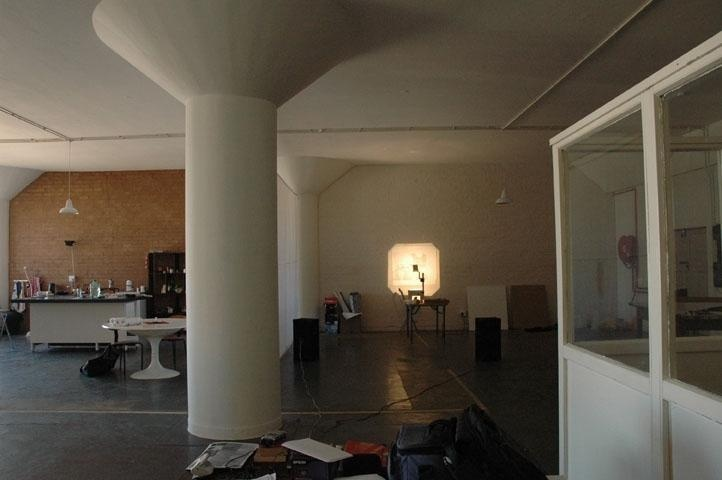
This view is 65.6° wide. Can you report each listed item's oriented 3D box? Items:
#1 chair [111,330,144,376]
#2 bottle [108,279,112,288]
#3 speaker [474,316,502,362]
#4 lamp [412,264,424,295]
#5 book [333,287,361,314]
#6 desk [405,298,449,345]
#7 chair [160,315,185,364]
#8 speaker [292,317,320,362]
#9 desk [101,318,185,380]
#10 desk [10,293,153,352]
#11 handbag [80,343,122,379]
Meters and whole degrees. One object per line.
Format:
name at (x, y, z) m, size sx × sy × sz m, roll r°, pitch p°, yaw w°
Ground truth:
chair at (-4.286, 1.918, 10.305) m, size 0.661 × 1.024 × 0.625 m, roll 0°, pitch 4°, yaw -9°
bottle at (-6.000, 1.048, 13.463) m, size 0.117 × 0.220 × 0.048 m, roll 0°, pitch -4°, yaw -12°
speaker at (2.222, 1.735, 9.794) m, size 0.442 × 0.753 × 0.294 m, roll -2°, pitch -4°, yaw 7°
lamp at (1.405, 0.919, 13.566) m, size 0.289 × 0.705 × 0.217 m, roll -1°, pitch -4°, yaw 5°
book at (-0.328, 1.460, 13.314) m, size 0.617 × 0.598 × 0.507 m, roll -1°, pitch -4°, yaw 5°
desk at (1.570, 1.869, 13.083) m, size 1.097 × 1.023 × 0.820 m, roll 0°, pitch -6°, yaw -2°
chair at (-3.244, 1.799, 9.917) m, size 0.522 × 0.667 × 0.508 m, roll -3°, pitch -7°, yaw -6°
speaker at (-0.989, 1.804, 10.131) m, size 0.670 × 0.938 × 0.670 m, roll -1°, pitch -3°, yaw 4°
desk at (-3.445, 1.808, 9.345) m, size 1.499 × 0.816 × 1.451 m, roll -18°, pitch -15°, yaw 29°
desk at (-5.644, 1.598, 11.459) m, size 1.788 × 0.792 × 1.510 m, roll -1°, pitch -1°, yaw -2°
handbag at (-4.239, 2.006, 9.371) m, size 0.387 × 0.613 × 0.623 m, roll 4°, pitch 4°, yaw 31°
